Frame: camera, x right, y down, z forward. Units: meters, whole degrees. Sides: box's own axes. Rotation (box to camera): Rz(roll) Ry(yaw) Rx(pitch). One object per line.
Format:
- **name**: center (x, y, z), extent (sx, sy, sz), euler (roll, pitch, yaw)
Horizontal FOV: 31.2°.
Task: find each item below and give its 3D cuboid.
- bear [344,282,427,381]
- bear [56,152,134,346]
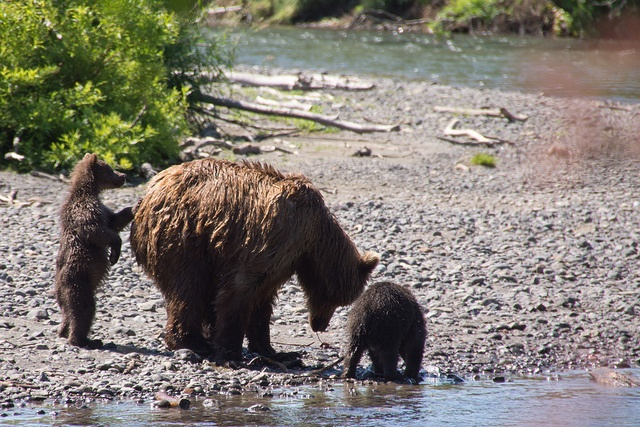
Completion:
- **bear**: center (1.055, 1.935, 18.439), extent (1.282, 1.541, 0.503), euler (2, 9, 4)
- **bear**: center (-3.723, 0.620, 18.660), extent (0.961, 3.105, 0.994), euler (7, 11, 32)
